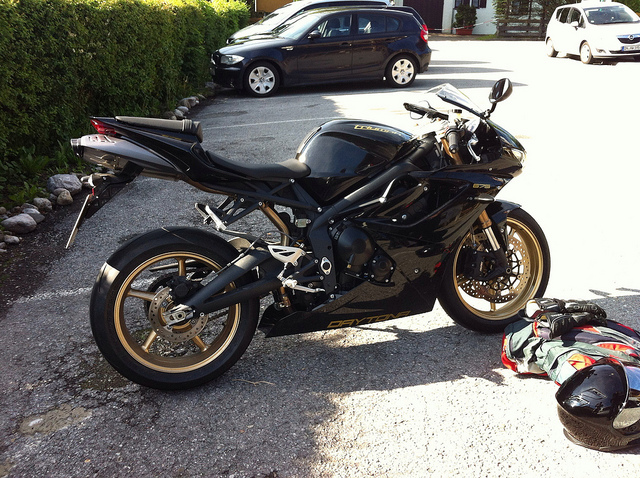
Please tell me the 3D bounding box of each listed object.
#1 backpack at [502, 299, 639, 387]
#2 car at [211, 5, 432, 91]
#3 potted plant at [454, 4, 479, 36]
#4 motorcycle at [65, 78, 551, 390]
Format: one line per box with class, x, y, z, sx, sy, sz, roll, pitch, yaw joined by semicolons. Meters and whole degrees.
backpack;1.522;0.668;3.096;0.833;0.269;0.550;2;18;9
car;0.125;-5.255;13.202;6.140;1.574;2.370;-4;17;-12
potted plant;10.758;-16.185;35.077;1.479;1.968;2.175;6;31;11
motorcycle;0.040;-0.019;3.082;2.997;1.692;0.746;-8;34;-13
